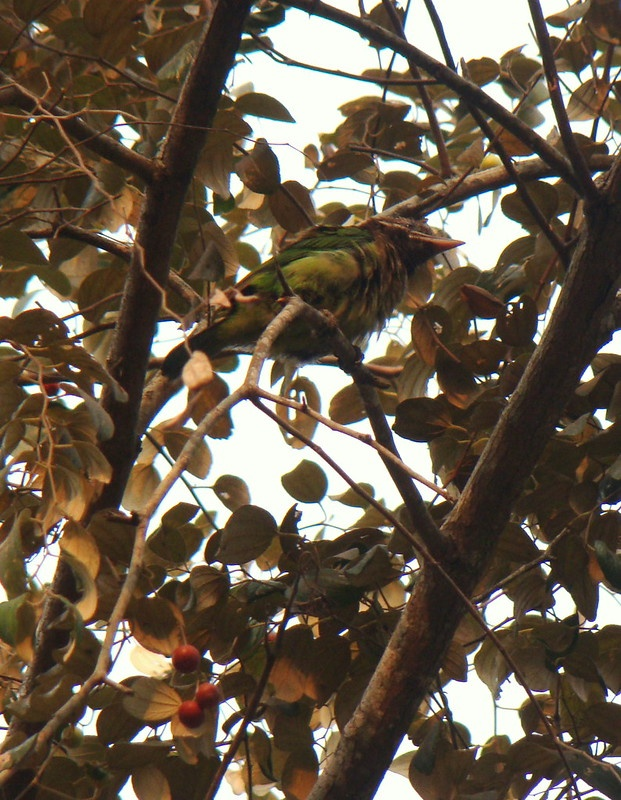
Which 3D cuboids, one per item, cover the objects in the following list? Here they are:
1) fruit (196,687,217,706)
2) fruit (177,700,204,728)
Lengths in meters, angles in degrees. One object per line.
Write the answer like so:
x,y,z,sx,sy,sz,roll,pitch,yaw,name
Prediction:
-0.229,0.661,3.439,0.047,0.045,0.051,0,-88,4,fruit
-0.266,0.696,3.411,0.059,0.055,0.063,4,-99,-5,fruit
